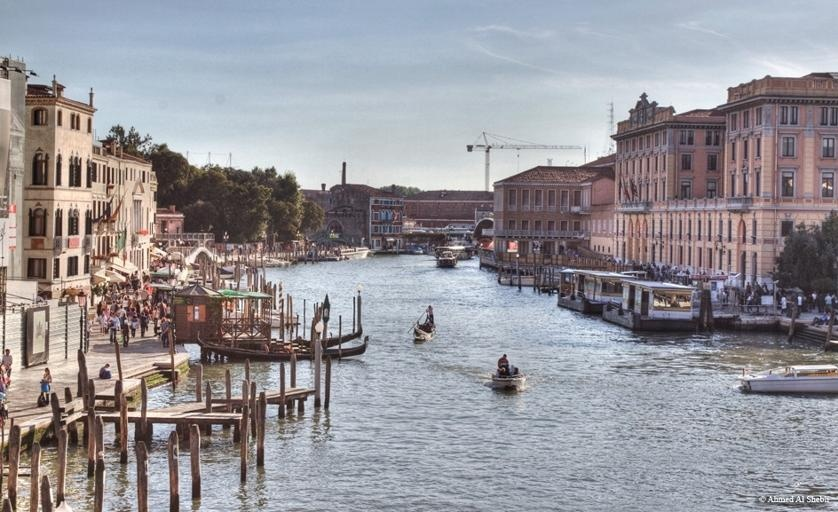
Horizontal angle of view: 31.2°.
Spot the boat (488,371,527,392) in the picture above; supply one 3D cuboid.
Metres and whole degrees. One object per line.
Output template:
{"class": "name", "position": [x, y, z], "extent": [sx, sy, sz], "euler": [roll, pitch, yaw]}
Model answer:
{"class": "boat", "position": [6.803, 9.763, 115.359], "extent": [2.804, 1.287, 1.867], "euler": [-1, 1, 2]}

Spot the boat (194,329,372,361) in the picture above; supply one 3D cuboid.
{"class": "boat", "position": [-11.488, 7.631, 120.730], "extent": [12.586, 1.915, 3.362], "euler": [-1, 1, -31]}

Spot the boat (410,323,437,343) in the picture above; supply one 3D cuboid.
{"class": "boat", "position": [0.402, 6.952, 132.711], "extent": [0.869, 1.030, 2.917], "euler": [13, 6, 17]}
